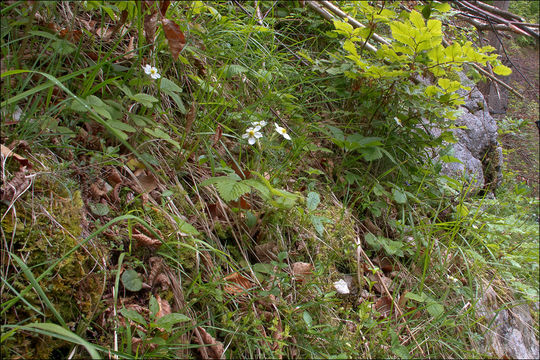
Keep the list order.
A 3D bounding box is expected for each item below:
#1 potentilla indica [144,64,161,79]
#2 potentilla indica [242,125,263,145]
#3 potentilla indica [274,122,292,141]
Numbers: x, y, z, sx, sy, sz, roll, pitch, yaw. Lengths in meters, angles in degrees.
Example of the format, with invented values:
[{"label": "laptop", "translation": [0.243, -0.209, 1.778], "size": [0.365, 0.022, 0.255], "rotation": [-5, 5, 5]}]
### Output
[{"label": "potentilla indica", "translation": [-0.777, -0.687, 2.528], "size": [0.118, 0.023, 0.116], "rotation": [30, 41, -40]}, {"label": "potentilla indica", "translation": [-0.119, -0.303, 2.632], "size": [0.137, 0.040, 0.139], "rotation": [-13, 81, -36]}, {"label": "potentilla indica", "translation": [0.086, -0.327, 2.703], "size": [0.132, 0.038, 0.136], "rotation": [41, 23, -40]}]
